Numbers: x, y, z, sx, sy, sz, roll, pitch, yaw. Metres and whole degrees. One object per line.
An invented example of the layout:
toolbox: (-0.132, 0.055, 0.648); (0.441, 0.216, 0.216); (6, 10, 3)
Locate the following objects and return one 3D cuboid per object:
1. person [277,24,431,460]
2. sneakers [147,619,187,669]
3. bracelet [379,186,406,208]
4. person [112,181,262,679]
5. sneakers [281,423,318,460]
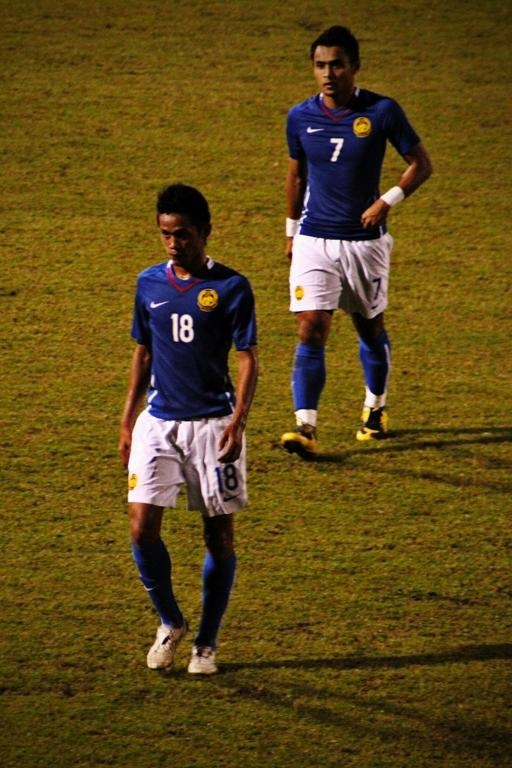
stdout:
person: (0.517, -0.730, 5.735); (0.722, 2.088, 0.989); (0, 21, 2)
sneakers: (-0.316, 0.925, 3.990); (0.090, 0.200, 0.094); (22, -13, 3)
bracelet: (0.680, -0.951, 5.686); (0.075, 0.069, 0.256); (13, 15, 18)
person: (-0.229, 0.151, 3.989); (0.485, 1.669, 0.584); (-3, 21, -7)
sneakers: (0.218, 0.286, 5.577); (0.118, 0.168, 0.229); (7, 20, 21)
